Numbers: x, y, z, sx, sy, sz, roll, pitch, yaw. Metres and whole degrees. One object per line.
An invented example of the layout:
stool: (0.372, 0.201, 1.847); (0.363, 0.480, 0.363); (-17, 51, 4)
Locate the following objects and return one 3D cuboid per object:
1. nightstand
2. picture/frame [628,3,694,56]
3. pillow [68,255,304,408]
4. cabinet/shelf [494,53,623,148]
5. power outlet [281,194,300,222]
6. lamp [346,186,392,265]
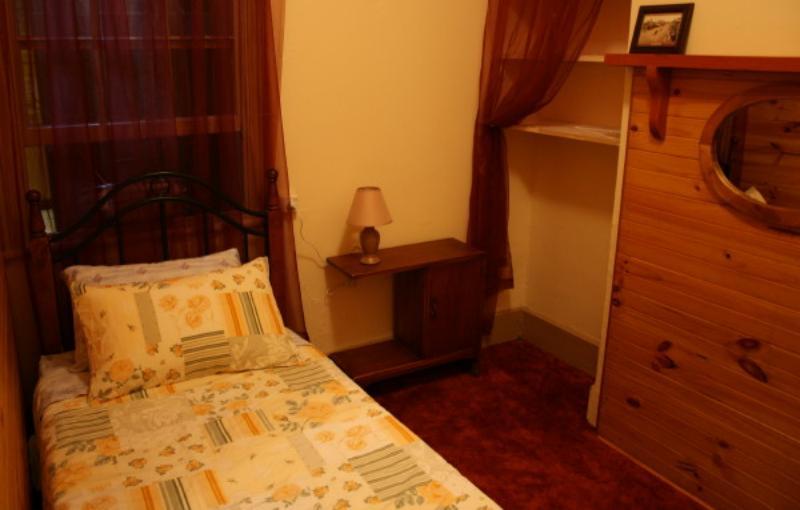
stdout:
nightstand: (0.012, 0.437, 3.936); (1.062, 0.860, 0.461); (-8, 15, -29)
picture/frame: (1.355, -1.162, 2.927); (0.032, 0.271, 0.311); (20, -2, -44)
pillow: (-1.185, 0.395, 3.195); (1.084, 0.313, 0.674); (-6, 58, -29)
cabinet/shelf: (1.178, -1.031, 3.848); (0.511, 0.605, 0.895); (-21, 33, -33)
power outlet: (-0.704, -0.307, 3.631); (0.081, 0.135, 0.149); (12, 21, 24)
lamp: (-0.210, -0.195, 3.739); (0.316, 0.483, 0.297); (8, 16, 27)
